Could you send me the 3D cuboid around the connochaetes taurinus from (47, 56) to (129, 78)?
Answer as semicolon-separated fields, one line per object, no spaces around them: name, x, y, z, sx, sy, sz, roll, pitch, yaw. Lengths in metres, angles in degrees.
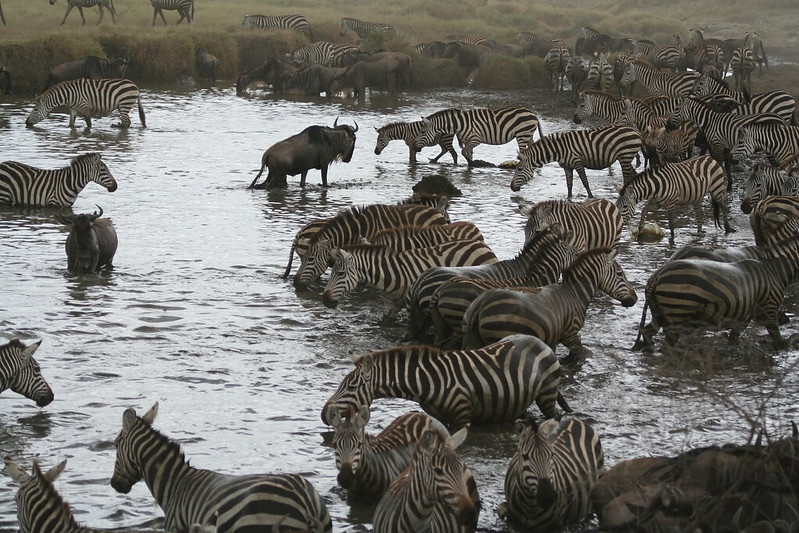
connochaetes taurinus;-8.317;-5.296;33.969;1.621;0.530;0.755;-11;2;-30

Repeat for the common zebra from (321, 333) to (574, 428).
common zebra;0.707;1.539;16.592;2.314;1.312;0.665;-8;10;-7

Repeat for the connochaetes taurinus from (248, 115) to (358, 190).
connochaetes taurinus;-1.848;-2.137;25.033;2.205;1.199;0.413;-6;13;-35

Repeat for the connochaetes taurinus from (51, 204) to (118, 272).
connochaetes taurinus;-4.824;-0.406;20.144;0.532;0.945;0.828;9;12;33

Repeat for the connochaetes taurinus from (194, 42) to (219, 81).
connochaetes taurinus;-5.902;-6.246;39.241;0.365;1.033;0.999;10;13;38
